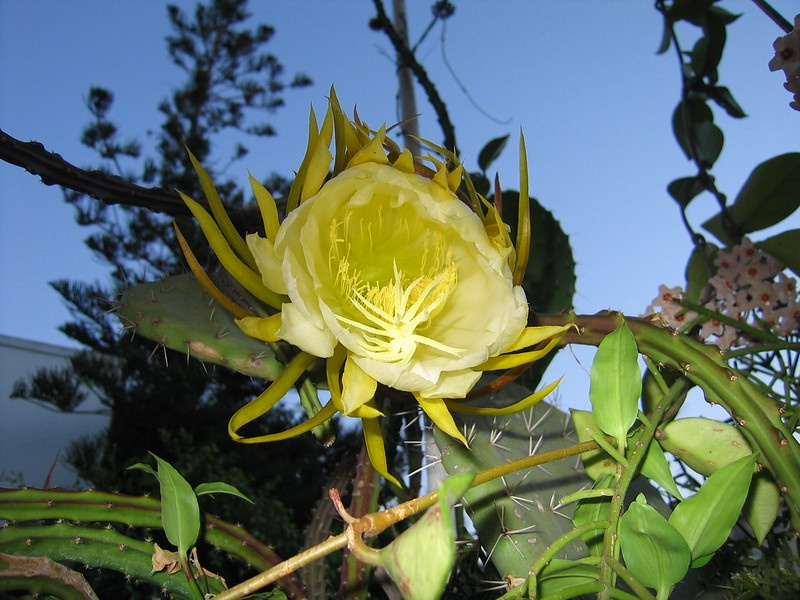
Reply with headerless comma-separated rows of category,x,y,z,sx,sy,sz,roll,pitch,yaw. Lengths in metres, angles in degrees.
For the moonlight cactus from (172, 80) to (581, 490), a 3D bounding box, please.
moonlight cactus,0.001,-0.050,1.041,0.367,0.220,0.447,-9,-7,3
